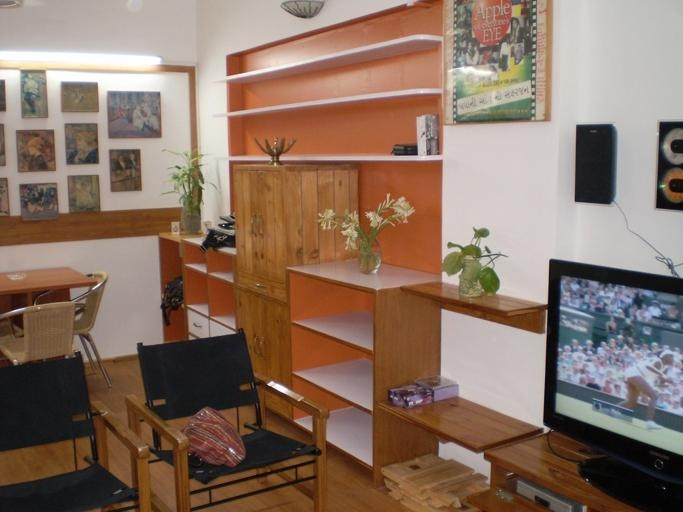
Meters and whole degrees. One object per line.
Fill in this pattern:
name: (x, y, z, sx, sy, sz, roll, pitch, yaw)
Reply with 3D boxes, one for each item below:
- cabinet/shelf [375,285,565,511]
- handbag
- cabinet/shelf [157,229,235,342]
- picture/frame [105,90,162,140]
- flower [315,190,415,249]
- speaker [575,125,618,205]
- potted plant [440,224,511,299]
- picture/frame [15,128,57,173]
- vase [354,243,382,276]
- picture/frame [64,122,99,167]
cabinet/shelf: (0.720, 0.799, 2.992, 0.561, 1.441, 1.132, -3, 9, -32)
handbag: (-0.680, 0.961, 2.812, 0.388, 0.200, 0.207, 6, 11, 39)
cabinet/shelf: (-1.438, 0.267, 5.267, 0.356, 1.048, 1.106, -3, 6, -39)
picture/frame: (-2.266, -1.524, 5.681, 0.535, 0.496, 0.022, -1, 8, -34)
flower: (0.240, -0.310, 3.848, 0.452, 0.315, 0.516, -5, 7, 44)
speaker: (1.237, -0.453, 2.593, 0.056, 0.381, 0.187, -7, 11, -36)
potted plant: (0.741, 0.006, 3.024, 0.366, 0.388, 0.371, -2, 6, -32)
picture/frame: (-3.101, -1.073, 5.329, 0.419, 0.549, 0.022, -3, 9, -37)
vase: (0.157, 0.021, 3.629, 0.171, 0.252, 0.184, 0, -1, -1)
picture/frame: (-2.725, -1.170, 5.501, 0.436, 0.623, 0.044, -2, 8, -33)
